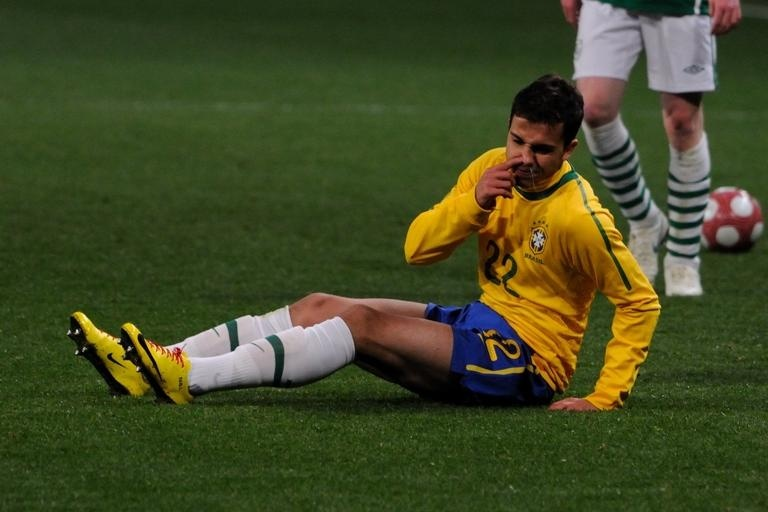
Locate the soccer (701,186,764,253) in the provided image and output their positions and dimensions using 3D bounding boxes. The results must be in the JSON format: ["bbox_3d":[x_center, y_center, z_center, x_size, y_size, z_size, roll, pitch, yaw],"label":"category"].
[{"bbox_3d":[1.970,-0.221,6.950,0.394,0.402,0.377,-5,8,-17],"label":"soccer"}]

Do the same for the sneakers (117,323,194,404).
[{"bbox_3d":[-0.920,0.417,4.934,0.210,0.439,0.157,-43,45,-21],"label":"sneakers"}]

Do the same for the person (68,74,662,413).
[{"bbox_3d":[-0.057,-0.006,5.044,2.455,1.268,0.821,-2,8,-14],"label":"person"}]
